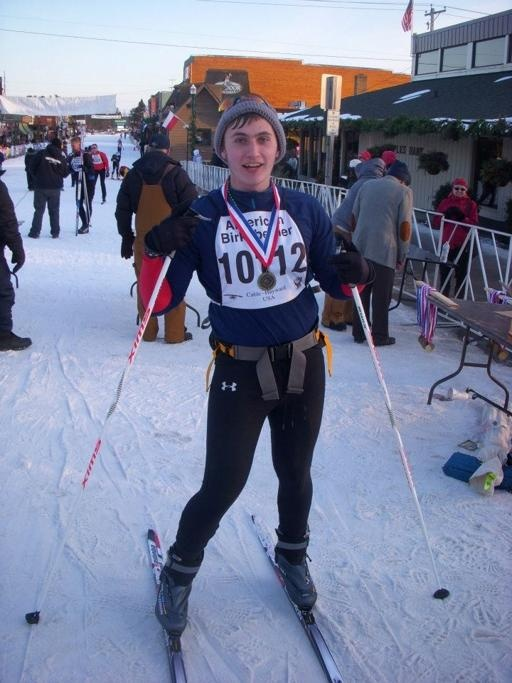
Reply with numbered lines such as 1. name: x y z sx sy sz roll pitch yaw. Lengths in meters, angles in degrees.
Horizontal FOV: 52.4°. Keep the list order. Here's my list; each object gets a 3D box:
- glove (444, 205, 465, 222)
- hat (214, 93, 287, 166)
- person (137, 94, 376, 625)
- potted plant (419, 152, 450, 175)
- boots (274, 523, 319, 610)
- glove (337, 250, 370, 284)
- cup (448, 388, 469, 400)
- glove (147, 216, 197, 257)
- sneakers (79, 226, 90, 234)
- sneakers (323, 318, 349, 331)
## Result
1. glove: 3.073 -1.981 8.069 0.205 0.111 0.282 3 51 6
2. hat: -0.023 -0.716 1.758 0.240 0.207 0.226 0 18 -2
3. person: 0.001 0.140 1.852 0.796 1.877 0.433 -5 18 -14
4. potted plant: 4.867 -4.943 14.219 0.734 0.649 0.773 3 38 10
5. boots: 0.160 0.884 2.062 0.100 0.266 0.296 6 5 -20
6. glove: 0.332 -0.251 1.804 0.090 0.124 0.063 -22 -19 -7
7. cup: 1.708 0.445 4.398 0.134 0.055 0.103 16 16 42
8. glove: -0.266 -0.331 1.637 0.158 0.095 0.068 -39 8 25
9. sneakers: -4.298 -2.796 13.005 0.285 0.285 0.153 1 21 -4
10. sneakers: 1.003 -0.216 6.582 0.118 0.152 0.346 -6 10 -35
